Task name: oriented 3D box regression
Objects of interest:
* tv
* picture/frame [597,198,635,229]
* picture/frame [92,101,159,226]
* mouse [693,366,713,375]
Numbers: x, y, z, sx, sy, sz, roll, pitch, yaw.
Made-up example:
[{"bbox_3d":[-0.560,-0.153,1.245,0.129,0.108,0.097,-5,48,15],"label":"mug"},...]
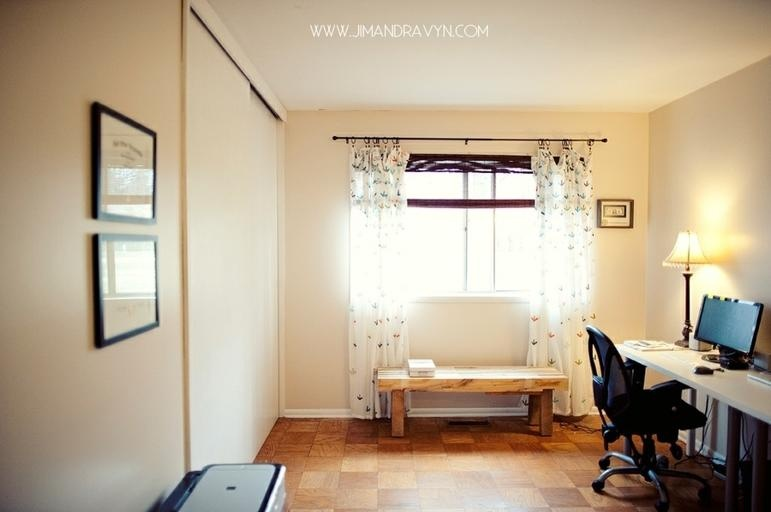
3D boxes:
[{"bbox_3d":[2.681,0.603,4.427,0.257,0.489,0.486,13,-1,-16],"label":"tv"},{"bbox_3d":[2.238,-0.418,5.546,0.293,0.256,0.021,0,1,1],"label":"picture/frame"},{"bbox_3d":[-1.476,-0.510,3.228,0.067,0.642,0.409,1,3,23],"label":"picture/frame"},{"bbox_3d":[2.336,0.843,4.205,0.105,0.038,0.064,-2,4,-2],"label":"mouse"}]
